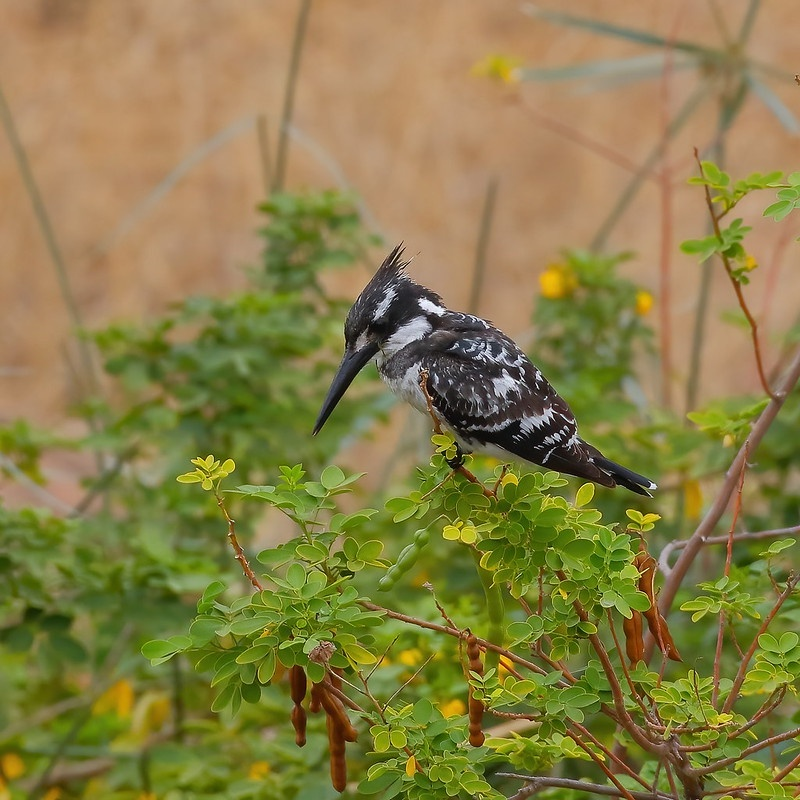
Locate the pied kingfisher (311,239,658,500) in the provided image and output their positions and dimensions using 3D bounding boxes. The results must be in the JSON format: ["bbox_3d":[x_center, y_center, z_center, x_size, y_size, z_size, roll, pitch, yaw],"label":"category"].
[{"bbox_3d":[0.188,-0.077,3.355,0.608,0.581,0.899,6,-1,19],"label":"pied kingfisher"}]
